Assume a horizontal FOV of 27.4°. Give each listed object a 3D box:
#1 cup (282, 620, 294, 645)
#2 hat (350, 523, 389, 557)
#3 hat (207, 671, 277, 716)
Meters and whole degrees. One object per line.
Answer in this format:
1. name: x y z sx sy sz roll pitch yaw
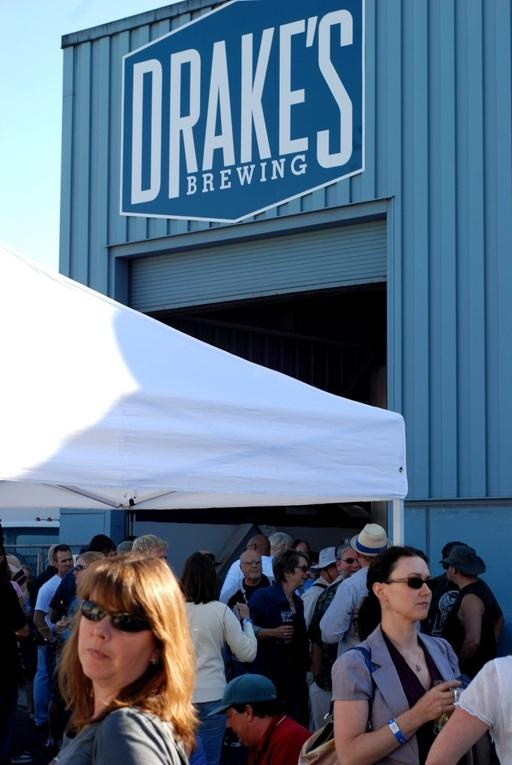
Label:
1. cup: 0.165 1.346 5.636 0.073 0.106 0.136 -5 -10 15
2. hat: 0.533 0.753 5.032 0.147 0.082 0.205 -8 35 -10
3. hat: -0.044 1.184 4.013 0.197 0.128 0.143 -1 -11 5
